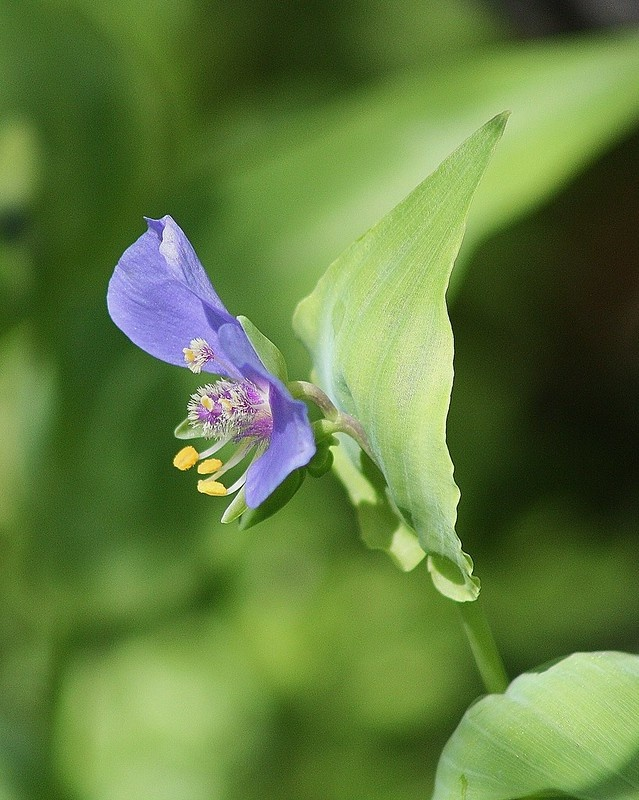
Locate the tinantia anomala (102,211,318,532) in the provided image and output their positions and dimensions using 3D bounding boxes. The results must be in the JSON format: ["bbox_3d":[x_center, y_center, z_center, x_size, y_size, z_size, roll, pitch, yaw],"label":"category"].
[{"bbox_3d":[-0.087,-0.020,0.726,0.089,0.261,0.280,-26,40,-20],"label":"tinantia anomala"}]
